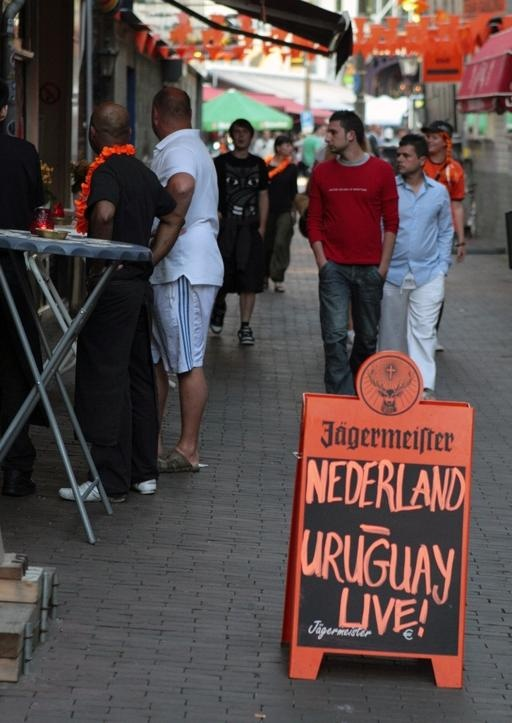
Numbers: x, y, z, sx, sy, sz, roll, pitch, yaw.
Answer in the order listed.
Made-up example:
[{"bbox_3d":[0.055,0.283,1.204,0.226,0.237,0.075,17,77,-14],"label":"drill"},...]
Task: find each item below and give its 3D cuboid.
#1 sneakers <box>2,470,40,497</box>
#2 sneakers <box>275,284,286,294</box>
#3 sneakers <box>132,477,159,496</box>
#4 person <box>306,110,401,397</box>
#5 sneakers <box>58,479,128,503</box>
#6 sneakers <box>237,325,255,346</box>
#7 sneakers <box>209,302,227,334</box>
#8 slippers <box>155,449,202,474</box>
[{"bbox_3d":[-1.132,0.580,4.230,0.073,0.149,0.220,8,12,23],"label":"sneakers"},{"bbox_3d":[0.339,-1.013,12.158,0.165,0.084,0.263,1,4,-1],"label":"sneakers"},{"bbox_3d":[-0.544,0.621,4.337,0.053,0.057,0.139,-3,10,-15],"label":"sneakers"},{"bbox_3d":[0.641,-0.705,5.860,0.619,1.920,0.376,3,9,3],"label":"person"},{"bbox_3d":[-0.743,0.621,4.070,0.349,0.135,0.115,7,-1,-6],"label":"sneakers"},{"bbox_3d":[-0.086,-0.271,8.607,0.168,0.214,0.311,3,8,-1],"label":"sneakers"},{"bbox_3d":[-0.381,-0.443,8.874,0.127,0.356,0.147,9,-11,-16],"label":"sneakers"},{"bbox_3d":[-0.424,0.553,4.811,0.211,0.082,0.110,4,-7,-14],"label":"slippers"}]
